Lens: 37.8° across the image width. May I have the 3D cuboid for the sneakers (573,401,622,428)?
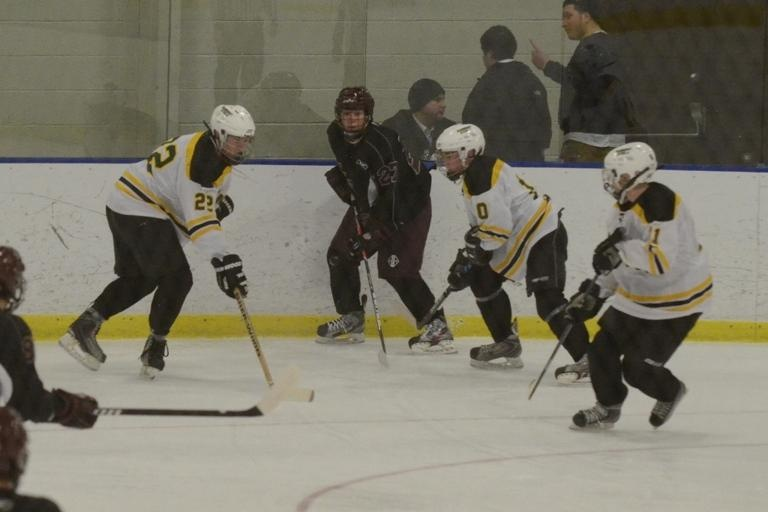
[{"bbox_3d":[1.127,0.869,6.032,0.294,0.105,0.194,-1,-21,1],"label":"sneakers"}]

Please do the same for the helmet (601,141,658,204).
[{"bbox_3d":[1.373,-0.460,6.214,0.350,0.303,0.273,-11,13,12],"label":"helmet"}]

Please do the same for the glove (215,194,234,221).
[{"bbox_3d":[-1.011,-0.313,7.062,0.102,0.163,0.052,27,-45,-24],"label":"glove"}]

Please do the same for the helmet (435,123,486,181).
[{"bbox_3d":[0.488,-0.655,7.091,0.364,0.304,0.302,-13,4,-28],"label":"helmet"}]

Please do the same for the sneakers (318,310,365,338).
[{"bbox_3d":[-0.270,0.479,7.669,0.409,0.225,0.137,4,1,-9],"label":"sneakers"}]

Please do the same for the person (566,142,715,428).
[{"bbox_3d":[1.420,0.186,6.020,0.645,1.472,0.687,7,19,13],"label":"person"}]

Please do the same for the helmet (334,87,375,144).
[{"bbox_3d":[-0.216,-0.916,7.437,0.285,0.319,0.347,-1,-3,-9],"label":"helmet"}]

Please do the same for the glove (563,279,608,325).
[{"bbox_3d":[1.153,0.261,6.249,0.200,0.263,0.082,19,-19,51],"label":"glove"}]

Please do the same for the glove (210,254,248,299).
[{"bbox_3d":[-0.909,0.113,6.598,0.201,0.258,0.111,-11,11,9],"label":"glove"}]

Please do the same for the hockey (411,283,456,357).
[{"bbox_3d":[0.299,0.449,7.375,0.316,0.388,0.144,2,22,17],"label":"hockey"}]

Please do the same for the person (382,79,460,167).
[{"bbox_3d":[0.278,-0.919,8.090,0.448,0.679,0.871,10,12,43],"label":"person"}]

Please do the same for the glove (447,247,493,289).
[{"bbox_3d":[0.512,0.075,7.018,0.178,0.311,0.132,44,21,19],"label":"glove"}]

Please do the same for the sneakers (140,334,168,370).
[{"bbox_3d":[-1.387,0.585,6.714,0.157,0.260,0.246,-2,18,-12],"label":"sneakers"}]

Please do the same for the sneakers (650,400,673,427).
[{"bbox_3d":[1.493,0.851,6.022,0.067,0.162,0.055,40,-5,-32],"label":"sneakers"}]

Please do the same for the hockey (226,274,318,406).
[{"bbox_3d":[-0.662,0.515,6.306,0.313,0.864,0.177,-26,-6,3],"label":"hockey"}]

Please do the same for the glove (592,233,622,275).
[{"bbox_3d":[1.224,-0.016,6.118,0.092,0.213,0.153,42,-5,4],"label":"glove"}]
